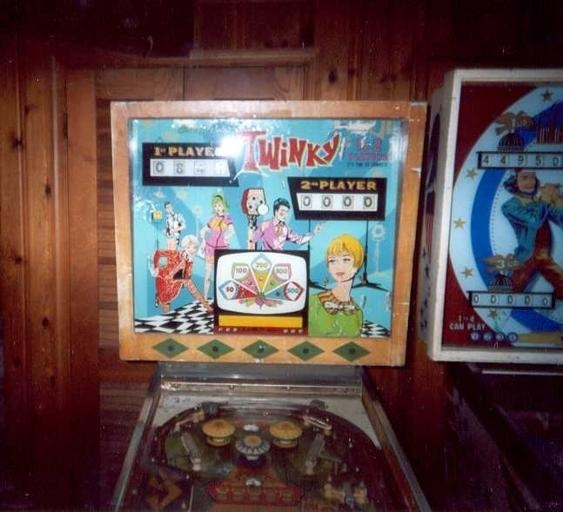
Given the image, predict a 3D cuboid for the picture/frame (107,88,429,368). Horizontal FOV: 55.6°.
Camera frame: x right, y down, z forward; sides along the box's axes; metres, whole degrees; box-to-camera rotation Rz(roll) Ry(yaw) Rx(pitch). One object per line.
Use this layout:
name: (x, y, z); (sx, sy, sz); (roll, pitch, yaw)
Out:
picture/frame: (-0.045, -0.104, 1.562); (0.702, 0.698, 0.078); (1, 8, 1)
